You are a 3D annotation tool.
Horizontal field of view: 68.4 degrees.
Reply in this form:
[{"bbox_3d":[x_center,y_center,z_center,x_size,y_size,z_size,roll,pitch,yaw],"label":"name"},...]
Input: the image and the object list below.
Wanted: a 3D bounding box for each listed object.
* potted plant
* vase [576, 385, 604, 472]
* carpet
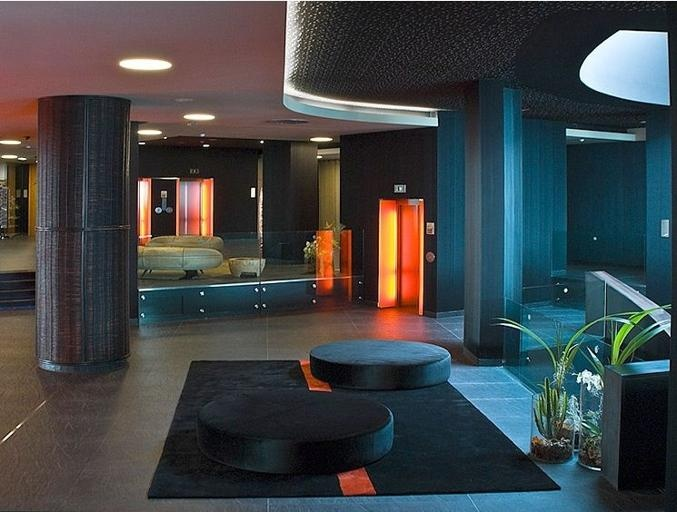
[{"bbox_3d":[1.794,1.154,4.667,1.853,1.369,1.671,2,4,14],"label":"potted plant"},{"bbox_3d":[2.116,1.437,4.189,0.169,0.563,0.462,0,5,27],"label":"vase"},{"bbox_3d":[-0.094,1.612,5.110,3.149,0.179,3.358,-3,5,-10],"label":"carpet"}]
